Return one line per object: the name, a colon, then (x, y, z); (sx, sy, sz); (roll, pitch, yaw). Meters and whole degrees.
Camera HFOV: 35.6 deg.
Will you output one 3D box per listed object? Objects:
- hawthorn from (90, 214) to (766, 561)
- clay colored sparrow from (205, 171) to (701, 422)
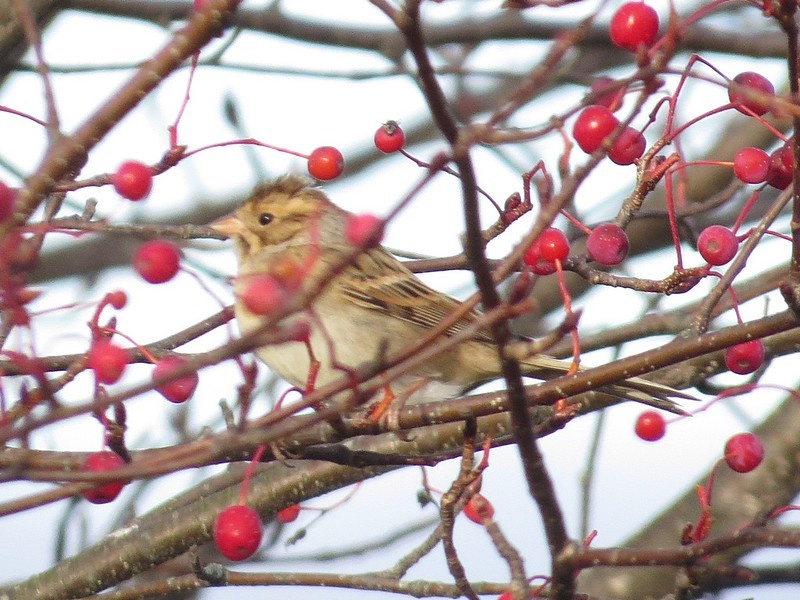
hawthorn: (0.156, 0.394, 5.112); (3.377, 1.025, 0.911); (-8, -90, 3)
clay colored sparrow: (0.456, 0.030, 6.526); (1.540, 2.679, 1.554); (-1, -89, -4)
